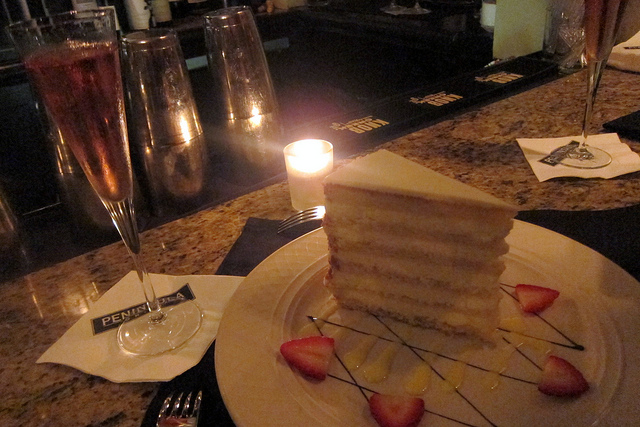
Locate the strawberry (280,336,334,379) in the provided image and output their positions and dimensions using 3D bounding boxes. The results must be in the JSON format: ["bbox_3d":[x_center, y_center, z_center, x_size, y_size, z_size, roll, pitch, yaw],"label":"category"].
[{"bbox_3d":[-0.035,0.350,1.123,0.139,0.033,0.102,10,61,-22],"label":"strawberry"}]

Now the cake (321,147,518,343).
[{"bbox_3d":[0.262,0.112,1.253,0.462,0.385,0.243,16,36,24],"label":"cake"}]

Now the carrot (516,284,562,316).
[{"bbox_3d":[0.576,0.230,1.207,0.109,0.054,0.068,3,32,18],"label":"carrot"}]

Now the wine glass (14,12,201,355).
[{"bbox_3d":[-0.500,-0.051,1.097,0.243,0.758,0.366,-16,32,-12],"label":"wine glass"}]

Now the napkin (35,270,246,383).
[{"bbox_3d":[-0.473,0.288,1.238,0.433,0.087,0.365,3,31,19],"label":"napkin"}]

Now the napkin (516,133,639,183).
[{"bbox_3d":[0.921,-0.206,1.620,0.362,0.052,0.297,-3,29,7],"label":"napkin"}]

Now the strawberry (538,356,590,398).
[{"bbox_3d":[0.567,0.384,1.052,0.097,0.044,0.095,14,36,33],"label":"strawberry"}]
